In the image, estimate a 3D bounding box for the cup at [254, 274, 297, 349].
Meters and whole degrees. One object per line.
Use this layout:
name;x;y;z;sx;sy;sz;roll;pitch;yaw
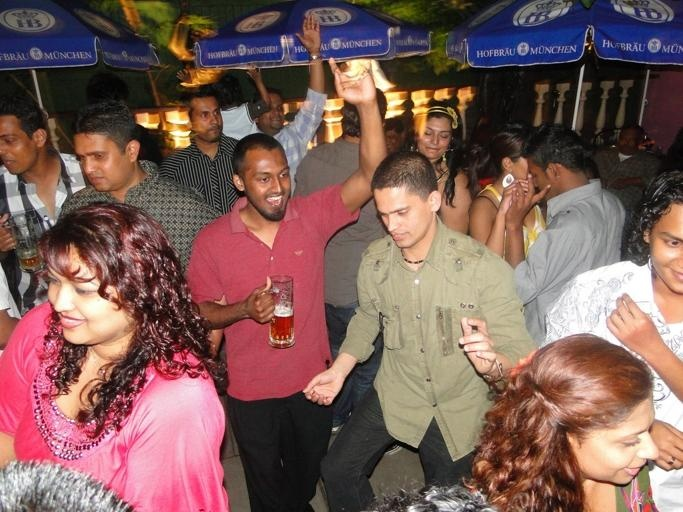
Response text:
cup;-0.356;0.320;2.943;0.144;0.419;0.152;-1;20;0
